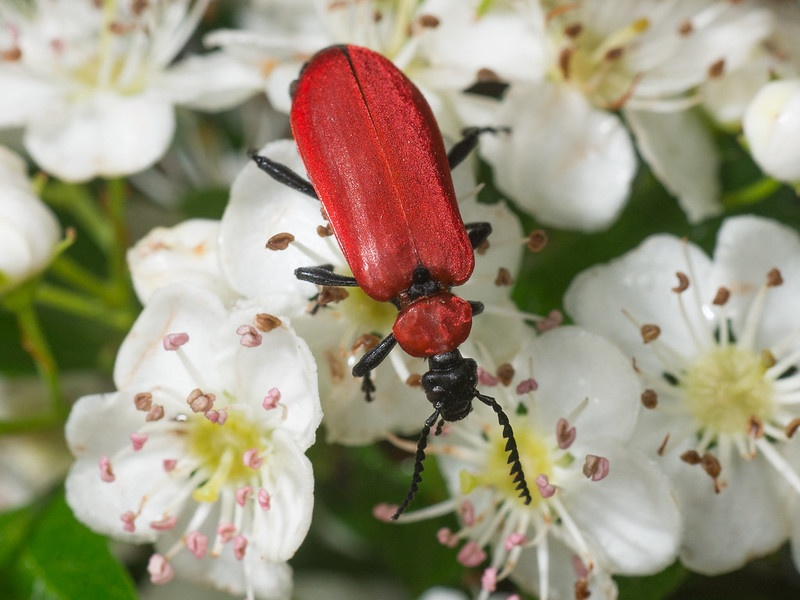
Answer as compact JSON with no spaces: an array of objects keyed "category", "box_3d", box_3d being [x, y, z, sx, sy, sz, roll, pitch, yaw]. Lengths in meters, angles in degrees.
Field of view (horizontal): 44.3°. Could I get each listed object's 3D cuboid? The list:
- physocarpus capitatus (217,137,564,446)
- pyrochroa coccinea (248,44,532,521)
[{"category":"physocarpus capitatus","box_3d":[-0.048,-0.015,1.992,0.505,0.610,0.739,-1,28,2]},{"category":"pyrochroa coccinea","box_3d":[0.005,-0.028,1.931,0.423,0.580,0.925,-6,70,15]}]
